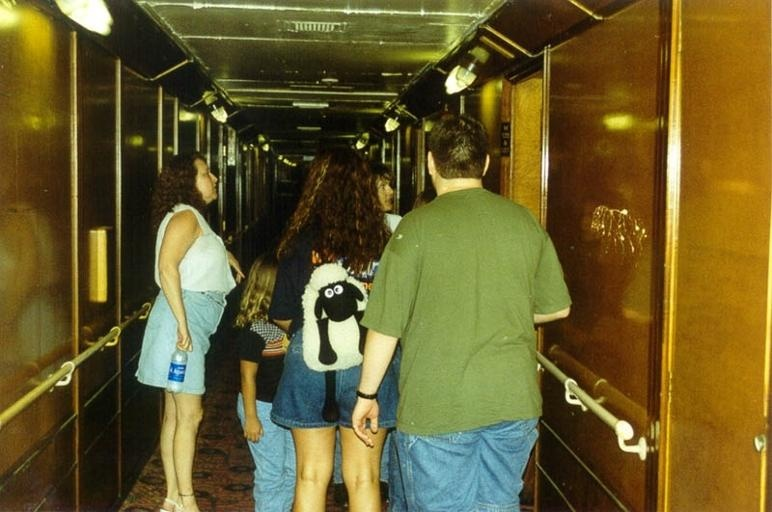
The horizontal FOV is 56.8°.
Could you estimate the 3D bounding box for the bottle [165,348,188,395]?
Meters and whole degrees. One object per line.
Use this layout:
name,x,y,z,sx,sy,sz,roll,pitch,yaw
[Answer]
bottle,-1.215,0.671,4.172,0.110,0.243,0.081,4,4,-17
